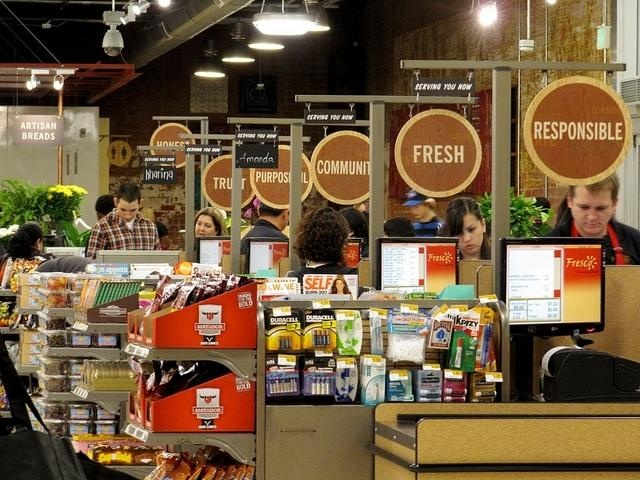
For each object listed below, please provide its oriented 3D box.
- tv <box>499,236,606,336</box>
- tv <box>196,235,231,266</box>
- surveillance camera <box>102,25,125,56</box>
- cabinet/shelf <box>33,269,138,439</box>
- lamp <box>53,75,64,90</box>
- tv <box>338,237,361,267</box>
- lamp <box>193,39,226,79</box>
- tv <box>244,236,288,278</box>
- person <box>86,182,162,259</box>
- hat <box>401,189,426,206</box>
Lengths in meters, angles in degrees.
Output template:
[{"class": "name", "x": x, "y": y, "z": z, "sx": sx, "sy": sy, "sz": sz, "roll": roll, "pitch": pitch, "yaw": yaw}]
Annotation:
[{"class": "tv", "x": 1.181, "y": 0.229, "z": 4.650, "sx": 0.504, "sy": 0.424, "sz": 0.066, "roll": 0, "pitch": -2, "yaw": -10}, {"class": "tv", "x": -1.050, "y": 0.088, "z": 9.098, "sx": 0.435, "sy": 0.414, "sz": 0.242, "roll": 1, "pitch": 0, "yaw": -9}, {"class": "surveillance camera", "x": -2.628, "y": -2.569, "z": 11.502, "sx": 0.214, "sy": 0.369, "sz": 0.501, "roll": 0, "pitch": 0, "yaw": -9}, {"class": "cabinet/shelf", "x": -1.577, "y": 0.782, "z": 6.130, "sx": 0.586, "sy": 1.066, "sz": 1.130, "roll": 1, "pitch": 1, "yaw": -5}, {"class": "lamp", "x": -3.826, "y": -2.340, "z": 13.224, "sx": 0.122, "sy": 0.276, "sz": 0.754, "roll": 0, "pitch": 0, "yaw": -18}, {"class": "tv", "x": 0.270, "y": 0.100, "z": 7.876, "sx": 0.282, "sy": 0.268, "sz": 0.224, "roll": 2, "pitch": -2, "yaw": -35}, {"class": "lamp", "x": -2.173, "y": -3.503, "z": 18.089, "sx": 0.762, "sy": 0.813, "sz": 0.806, "roll": 0, "pitch": -2, "yaw": -1}, {"class": "tv", "x": -0.475, "y": 0.131, "z": 8.286, "sx": 0.374, "sy": 0.315, "sz": 0.215, "roll": 0, "pitch": 0, "yaw": -6}, {"class": "person", "x": -2.172, "y": -0.231, "z": 9.986, "sx": 0.770, "sy": 0.795, "sz": 0.571, "roll": 0, "pitch": 0, "yaw": -11}, {"class": "hat", "x": 0.791, "y": -0.353, "z": 7.597, "sx": 0.225, "sy": 0.122, "sz": 0.151, "roll": -12, "pitch": 12, "yaw": -33}]
